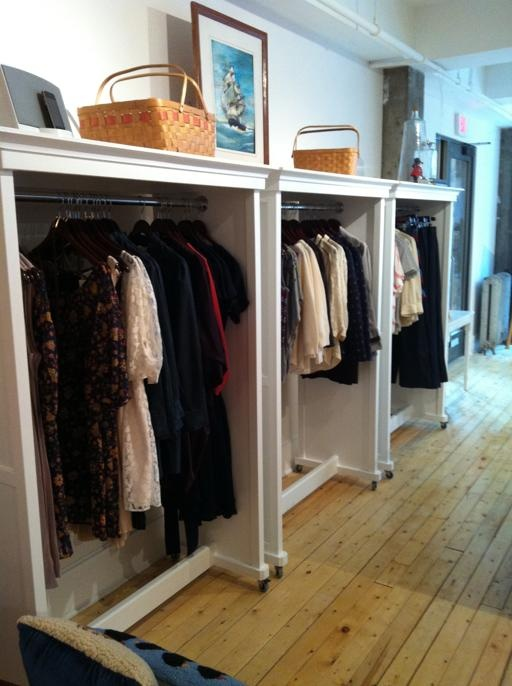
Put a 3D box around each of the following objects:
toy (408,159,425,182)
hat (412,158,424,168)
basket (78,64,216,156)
[{"bbox_3d":[1.075,-1.149,3.678,0.115,0.161,0.088,-2,8,-11],"label":"toy"},{"bbox_3d":[1.076,-1.187,3.674,0.057,0.065,0.048,-7,8,13],"label":"hat"},{"bbox_3d":[-0.342,-0.764,1.852,0.301,0.308,0.408,1,11,21],"label":"basket"}]
